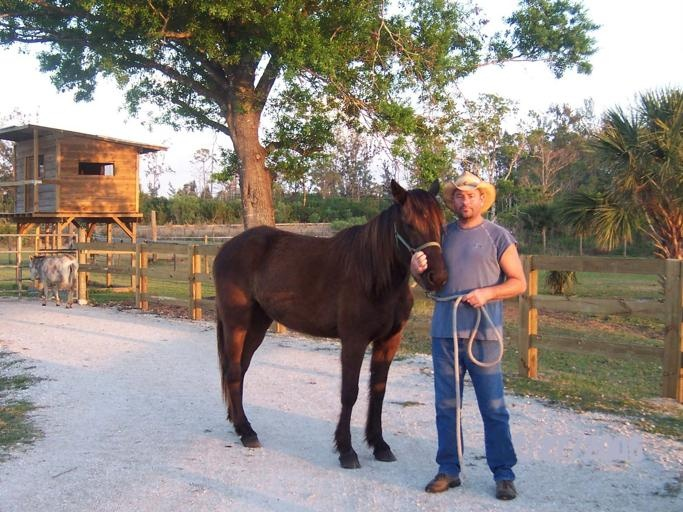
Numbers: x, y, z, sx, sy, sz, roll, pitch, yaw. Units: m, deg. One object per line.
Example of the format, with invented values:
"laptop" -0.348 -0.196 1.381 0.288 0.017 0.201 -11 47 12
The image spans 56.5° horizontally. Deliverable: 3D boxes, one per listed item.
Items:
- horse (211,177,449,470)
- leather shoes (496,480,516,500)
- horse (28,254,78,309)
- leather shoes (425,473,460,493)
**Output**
"horse" -0.208 0.768 7.219 3.262 3.077 0.891 0 1 36
"leather shoes" 1.566 2.245 6.066 0.108 0.110 0.238 2 0 12
"horse" -7.132 0.583 15.926 1.782 1.282 0.633 6 8 44
"leather shoes" 0.987 2.198 6.242 0.314 0.161 0.149 1 -1 -29
